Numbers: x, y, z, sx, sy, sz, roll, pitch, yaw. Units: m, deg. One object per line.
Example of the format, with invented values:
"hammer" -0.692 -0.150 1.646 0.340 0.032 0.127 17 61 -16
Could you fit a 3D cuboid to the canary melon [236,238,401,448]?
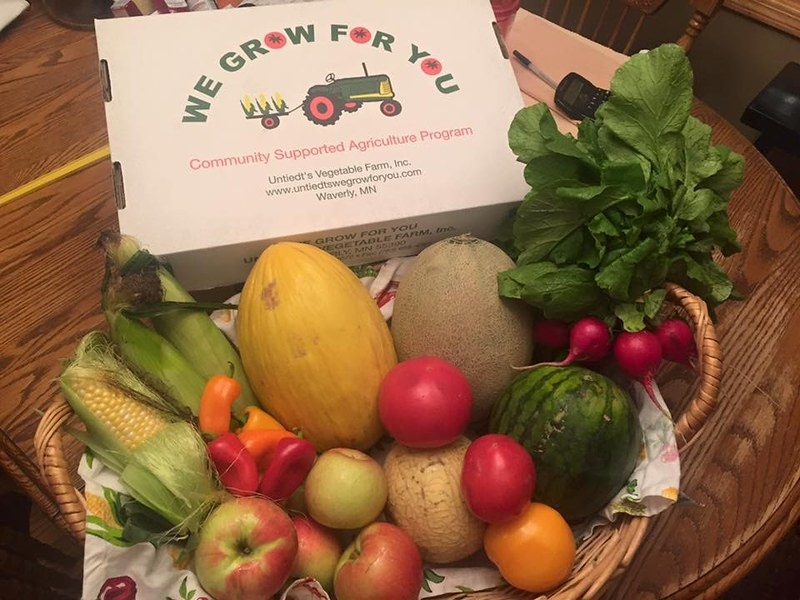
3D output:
"canary melon" -0.130 0.059 1.175 0.199 0.225 0.368 -26 92 21
